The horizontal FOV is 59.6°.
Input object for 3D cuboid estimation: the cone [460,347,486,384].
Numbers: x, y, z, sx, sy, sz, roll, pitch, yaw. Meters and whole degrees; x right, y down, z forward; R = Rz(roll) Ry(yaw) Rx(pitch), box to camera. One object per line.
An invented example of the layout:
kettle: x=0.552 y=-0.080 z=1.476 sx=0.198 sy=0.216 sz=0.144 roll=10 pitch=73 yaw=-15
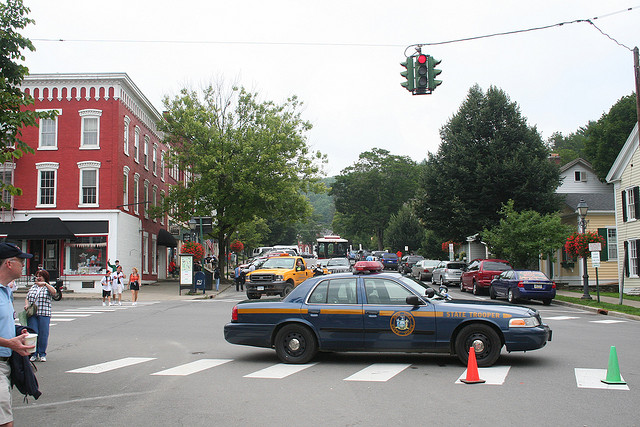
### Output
cone: x=2.971 y=2.951 z=10.906 sx=0.476 sy=0.667 sz=0.258 roll=-1 pitch=-2 yaw=13

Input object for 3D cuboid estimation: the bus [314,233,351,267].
bus: x=1.195 y=4.480 z=60.611 sx=3.212 sy=3.327 sz=5.546 roll=0 pitch=-13 yaw=-1

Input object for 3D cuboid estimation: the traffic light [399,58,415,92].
traffic light: x=2.686 y=-4.337 z=17.192 sx=0.403 sy=1.127 sz=0.986 roll=-1 pitch=-3 yaw=9

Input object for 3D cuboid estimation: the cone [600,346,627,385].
cone: x=5.689 y=2.899 z=10.764 sx=0.439 sy=0.745 sz=0.522 roll=-1 pitch=-3 yaw=5

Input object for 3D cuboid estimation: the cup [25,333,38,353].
cup: x=-3.641 y=1.618 z=7.002 sx=0.115 sy=0.248 sz=0.237 roll=0 pitch=-3 yaw=-21

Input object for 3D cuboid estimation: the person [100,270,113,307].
person: x=-10.737 y=3.732 z=28.044 sx=0.509 sy=1.727 sz=1.531 roll=0 pitch=-3 yaw=-21

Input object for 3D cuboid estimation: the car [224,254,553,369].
car: x=1.625 y=2.331 z=13.268 sx=6.741 sy=1.921 sz=2.718 roll=-3 pitch=-5 yaw=10

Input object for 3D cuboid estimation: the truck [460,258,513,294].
truck: x=9.900 y=3.755 z=33.422 sx=2.297 sy=1.967 sz=5.305 roll=1 pitch=-5 yaw=1

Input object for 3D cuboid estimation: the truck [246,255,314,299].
truck: x=-1.833 y=3.034 z=27.555 sx=1.842 sy=1.279 sz=3.098 roll=-4 pitch=-8 yaw=15

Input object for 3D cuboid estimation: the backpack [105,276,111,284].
backpack: x=-10.659 y=3.275 z=27.940 sx=0.115 sy=0.316 sz=0.491 roll=-1 pitch=-3 yaw=11

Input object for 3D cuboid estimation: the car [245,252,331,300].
car: x=-1.640 y=3.072 z=28.007 sx=2.068 sy=1.530 sz=4.188 roll=-5 pitch=-8 yaw=20

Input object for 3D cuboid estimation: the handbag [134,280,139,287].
handbag: x=-9.158 y=3.458 z=27.696 sx=0.121 sy=0.347 sz=0.265 roll=-1 pitch=-3 yaw=18

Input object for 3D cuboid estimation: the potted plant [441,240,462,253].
potted plant: x=13.917 y=3.416 z=59.312 sx=1.979 sy=1.040 sz=2.473 roll=2 pitch=-5 yaw=-4
